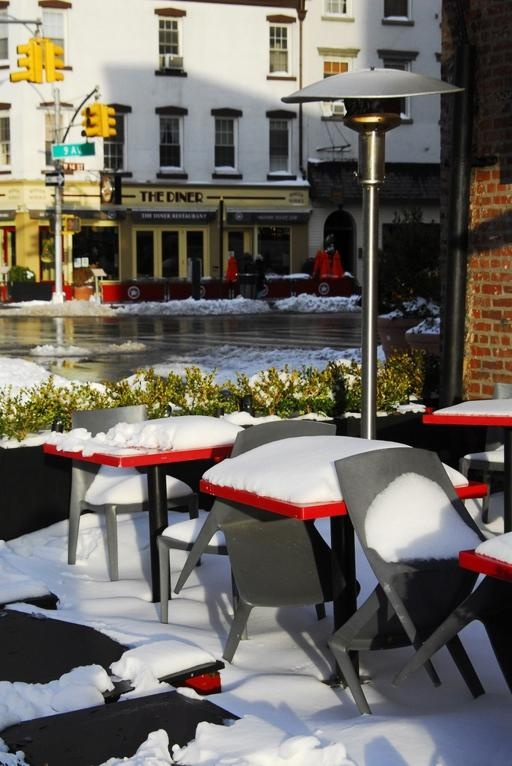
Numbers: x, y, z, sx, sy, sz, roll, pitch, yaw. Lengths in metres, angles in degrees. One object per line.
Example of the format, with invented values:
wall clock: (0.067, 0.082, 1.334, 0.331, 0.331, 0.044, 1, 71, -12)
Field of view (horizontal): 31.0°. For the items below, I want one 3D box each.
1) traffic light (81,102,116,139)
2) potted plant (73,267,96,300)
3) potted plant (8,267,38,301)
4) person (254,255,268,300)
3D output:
traffic light: (-4.451, -7.430, 26.494, 0.871, 1.042, 0.928, 0, 1, -19)
potted plant: (-6.121, -3.430, 33.093, 0.758, 1.277, 1.797, 1, 1, -11)
potted plant: (-8.211, -3.365, 32.451, 0.914, 1.313, 1.493, 1, 1, -16)
person: (0.184, -3.647, 33.325, 0.399, 1.446, 0.850, 1, 1, 3)
